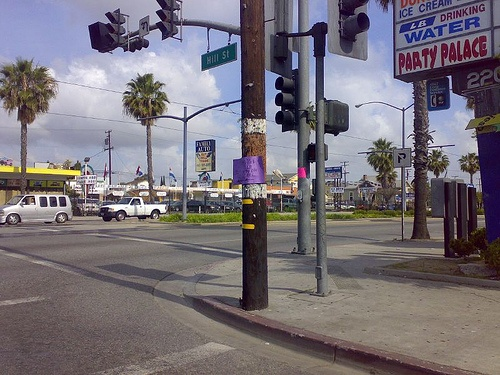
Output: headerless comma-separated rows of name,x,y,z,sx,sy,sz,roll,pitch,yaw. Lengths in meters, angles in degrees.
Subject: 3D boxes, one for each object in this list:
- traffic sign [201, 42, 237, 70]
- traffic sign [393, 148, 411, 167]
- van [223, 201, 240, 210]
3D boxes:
traffic sign,-1.094,-4.619,17.021,1.750,0.573,0.189,-3,-2,44
traffic sign,5.801,-1.119,18.302,0.458,0.759,1.126,-1,-2,-14
van,-2.201,2.375,60.329,1.806,1.182,2.480,-1,-2,-1
